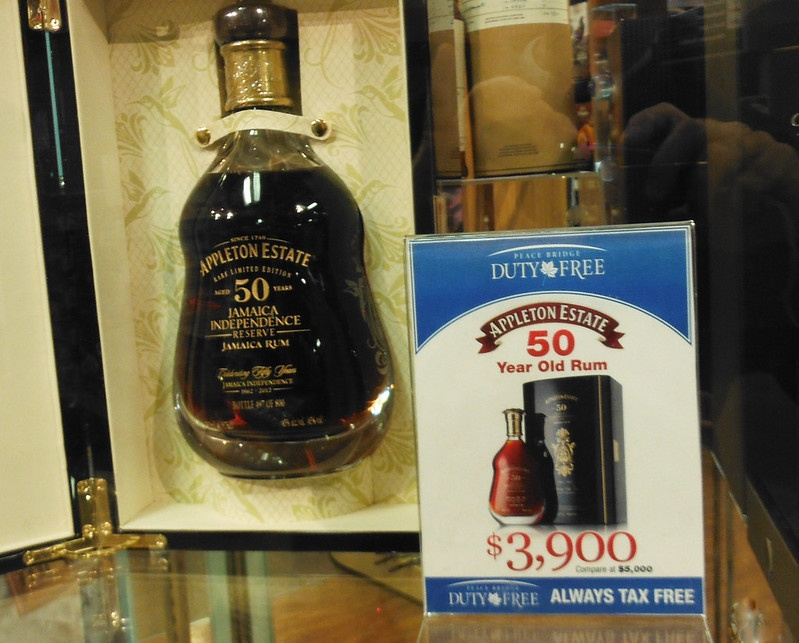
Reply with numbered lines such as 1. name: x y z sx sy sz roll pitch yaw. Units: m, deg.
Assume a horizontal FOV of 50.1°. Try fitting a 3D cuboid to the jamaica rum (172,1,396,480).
1. jamaica rum: -0.109 -0.067 0.712 0.178 0.396 0.071 -7 6 -14
